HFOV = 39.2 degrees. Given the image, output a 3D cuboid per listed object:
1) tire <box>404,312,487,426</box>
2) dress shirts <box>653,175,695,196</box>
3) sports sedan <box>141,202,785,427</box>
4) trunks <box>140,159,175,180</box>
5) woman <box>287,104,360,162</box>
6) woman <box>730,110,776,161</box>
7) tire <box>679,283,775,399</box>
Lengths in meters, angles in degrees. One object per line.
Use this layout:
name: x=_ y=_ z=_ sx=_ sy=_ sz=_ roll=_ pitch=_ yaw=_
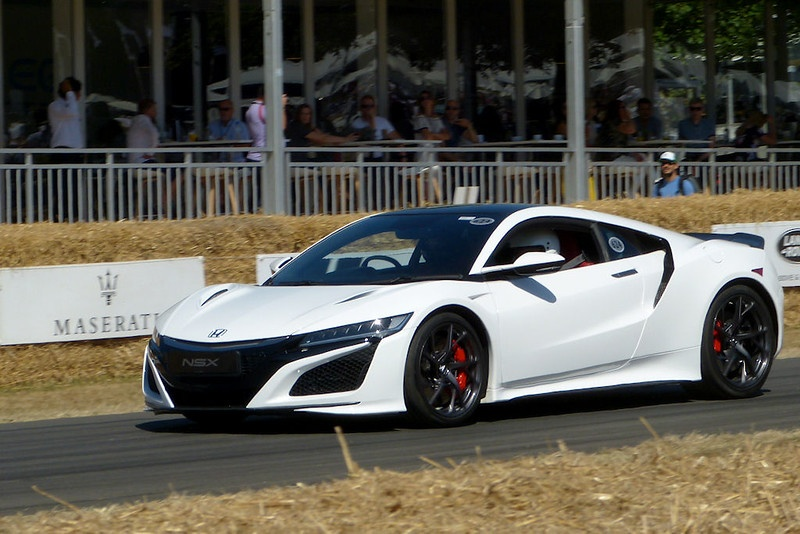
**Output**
tire: x=0.340 y=0.866 z=9.501 sx=0.993 sy=0.894 sz=0.380 roll=15 pitch=-19 yaw=-38
dress shirts: x=3.903 y=-1.156 z=16.055 sx=0.406 sy=0.321 sz=0.225 roll=-5 pitch=-13 yaw=43
sports sedan: x=0.737 y=0.478 z=10.139 sx=4.702 sy=1.140 sz=2.575 roll=1 pitch=-3 yaw=-35
trunks: x=-3.129 y=-1.264 z=14.734 sx=0.362 sy=0.217 sz=0.655 roll=-2 pitch=5 yaw=23
woman: x=-1.222 y=-2.165 z=18.299 sx=1.548 sy=0.715 sz=0.646 roll=5 pitch=15 yaw=-25
woman: x=6.738 y=-2.539 z=21.448 sx=0.730 sy=0.928 sz=4.708 roll=-3 pitch=5 yaw=18
tire: x=3.073 y=0.725 z=10.737 sx=1.230 sy=0.980 sz=0.471 roll=8 pitch=-12 yaw=-31
